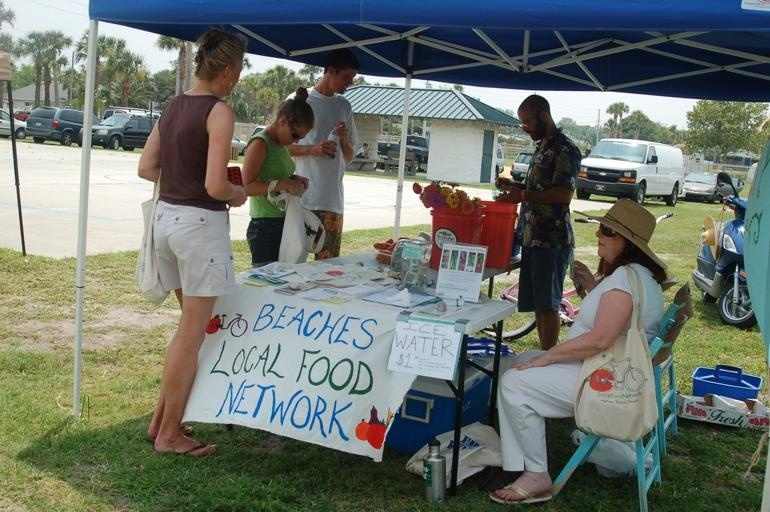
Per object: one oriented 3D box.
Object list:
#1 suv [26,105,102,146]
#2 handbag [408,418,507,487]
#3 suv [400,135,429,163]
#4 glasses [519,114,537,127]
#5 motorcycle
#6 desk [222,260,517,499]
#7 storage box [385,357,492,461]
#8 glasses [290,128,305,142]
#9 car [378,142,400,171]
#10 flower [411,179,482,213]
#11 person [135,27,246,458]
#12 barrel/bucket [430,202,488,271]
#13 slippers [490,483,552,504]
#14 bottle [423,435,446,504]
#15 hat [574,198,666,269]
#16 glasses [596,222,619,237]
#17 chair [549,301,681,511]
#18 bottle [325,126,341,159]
[{"bbox_3d":[-14.521,-5.806,26.741,2.385,1.651,1.546,8,12,26],"label":"suv"},{"bbox_3d":[0.614,1.376,4.240,0.401,0.115,0.474,10,15,44],"label":"handbag"},{"bbox_3d":[1.814,-5.962,33.468,1.150,1.475,2.978,3,11,1],"label":"suv"},{"bbox_3d":[1.260,-1.195,5.295,0.035,0.106,0.100,9,-8,-27],"label":"glasses"},{"bbox_3d":[4.495,0.037,7.810,0.504,1.607,1.046,3,10,4],"label":"motorcycle"},{"bbox_3d":[0.145,0.656,4.709,1.768,1.673,1.416,6,12,32],"label":"desk"},{"bbox_3d":[0.401,1.129,4.562,0.644,0.409,0.677,5,5,32],"label":"storage box"},{"bbox_3d":[-0.688,-0.944,4.695,0.089,0.027,0.086,48,10,14],"label":"glasses"},{"bbox_3d":[0.141,-5.525,33.085,1.109,1.493,2.445,2,11,-3],"label":"car"},{"bbox_3d":[0.452,-0.458,4.599,0.400,0.164,0.259,15,13,37],"label":"flower"},{"bbox_3d":[-1.335,-0.067,4.180,0.691,2.937,0.443,2,10,-3],"label":"person"},{"bbox_3d":[0.522,-0.168,4.618,0.457,0.487,0.446,2,2,0],"label":"barrel/bucket"},{"bbox_3d":[0.922,1.541,3.978,0.343,0.082,0.159,3,-3,-2],"label":"slippers"},{"bbox_3d":[0.333,1.391,3.994,0.165,0.443,0.138,2,10,-1],"label":"bottle"},{"bbox_3d":[1.601,-0.213,4.130,0.470,0.174,0.484,28,5,38],"label":"hat"},{"bbox_3d":[1.519,-0.184,4.123,0.027,0.089,0.085,2,2,-21],"label":"glasses"},{"bbox_3d":[1.573,1.056,4.099,0.676,1.045,1.369,5,6,34],"label":"chair"},{"bbox_3d":[-0.478,-1.032,5.420,0.095,0.096,0.314,18,-14,2],"label":"bottle"}]
